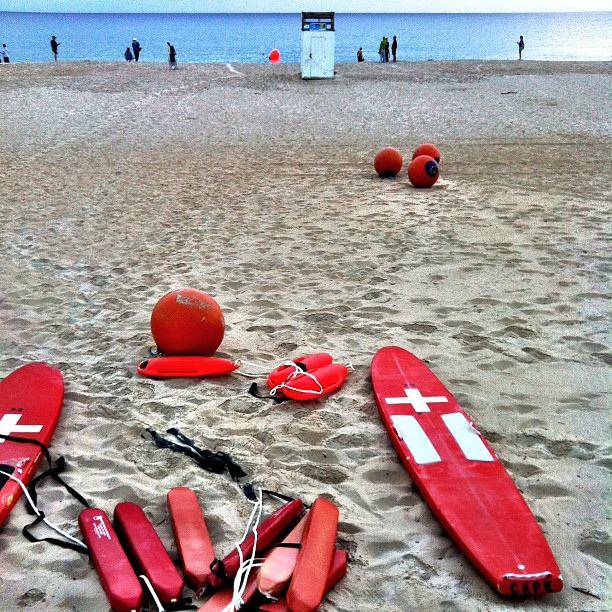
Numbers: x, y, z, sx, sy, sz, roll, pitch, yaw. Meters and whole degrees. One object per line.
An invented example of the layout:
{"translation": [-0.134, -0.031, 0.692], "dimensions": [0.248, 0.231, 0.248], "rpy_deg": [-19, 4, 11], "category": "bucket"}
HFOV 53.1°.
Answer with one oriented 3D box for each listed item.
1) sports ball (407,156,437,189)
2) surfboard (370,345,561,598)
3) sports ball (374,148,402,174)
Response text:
{"translation": [1.733, -1.982, 9.104], "dimensions": [0.417, 0.472, 0.261], "rpy_deg": [4, 25, 6], "category": "sports ball"}
{"translation": [0.820, 0.773, 3.448], "dimensions": [0.376, 0.195, 1.502], "rpy_deg": [-9, 27, -10], "category": "surfboard"}
{"translation": [1.245, -2.355, 9.938], "dimensions": [0.467, 0.417, 0.396], "rpy_deg": [-5, 20, 0], "category": "sports ball"}
